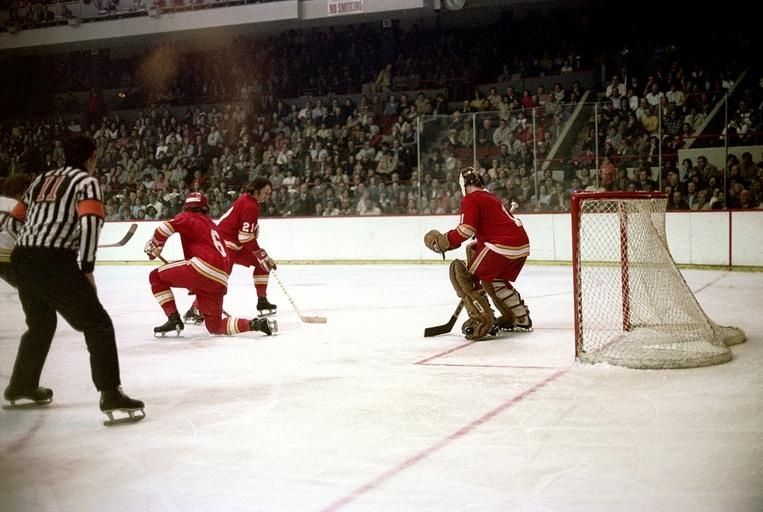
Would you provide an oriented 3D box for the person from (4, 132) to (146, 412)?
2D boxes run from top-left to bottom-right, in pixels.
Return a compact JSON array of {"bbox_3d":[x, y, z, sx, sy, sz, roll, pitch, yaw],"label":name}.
[{"bbox_3d":[-2.247,0.155,4.547,1.067,2.016,0.416,1,7,26],"label":"person"}]

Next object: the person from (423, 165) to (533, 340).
[{"bbox_3d":[1.080,-0.041,6.984,0.823,1.830,0.886,3,8,40],"label":"person"}]

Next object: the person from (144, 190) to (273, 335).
[{"bbox_3d":[-2.055,0.104,7.258,1.584,1.637,0.512,-1,7,14],"label":"person"}]

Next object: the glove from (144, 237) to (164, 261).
[{"bbox_3d":[-2.743,-0.101,7.612,0.217,0.116,0.298,16,-40,-32],"label":"glove"}]

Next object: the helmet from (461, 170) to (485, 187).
[{"bbox_3d":[1.000,-0.847,6.988,0.216,0.180,0.224,-22,24,-13],"label":"helmet"}]

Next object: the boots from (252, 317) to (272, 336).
[{"bbox_3d":[-1.318,0.777,7.052,0.261,0.176,0.097,-4,7,-16],"label":"boots"}]
